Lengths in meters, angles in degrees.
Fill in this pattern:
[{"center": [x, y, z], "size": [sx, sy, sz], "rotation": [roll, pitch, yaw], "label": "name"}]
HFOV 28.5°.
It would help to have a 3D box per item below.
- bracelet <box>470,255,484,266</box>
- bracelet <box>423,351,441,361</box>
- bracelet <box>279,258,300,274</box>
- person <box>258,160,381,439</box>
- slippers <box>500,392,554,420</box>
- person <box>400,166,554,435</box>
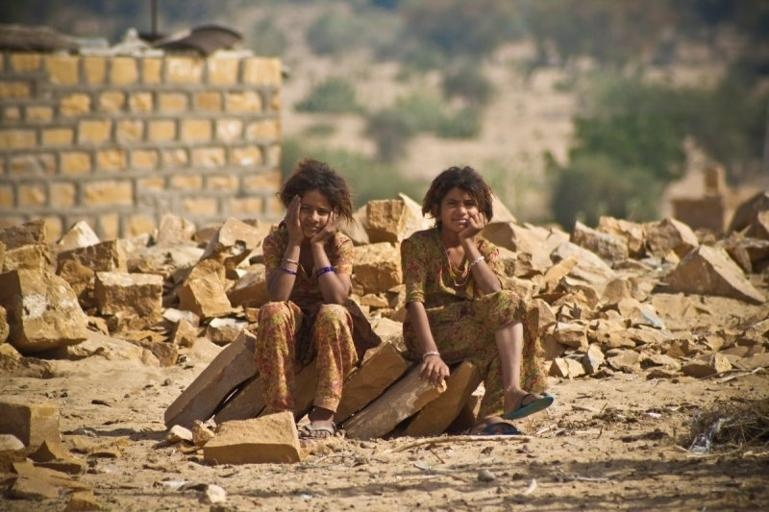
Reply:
[{"center": [0.991, 0.065, 16.103], "size": [0.029, 0.100, 0.104], "rotation": [52, -22, -9], "label": "bracelet"}, {"center": [0.493, 1.054, 15.931], "size": [0.106, 0.028, 0.107], "rotation": [-1, -29, -12], "label": "bracelet"}, {"center": [-1.004, 0.127, 16.050], "size": [0.157, 0.042, 0.157], "rotation": [20, -27, -3], "label": "bracelet"}, {"center": [-0.733, 0.448, 16.057], "size": [1.191, 2.344, 0.585], "rotation": [6, -3, -5], "label": "person"}, {"center": [1.505, 1.556, 15.760], "size": [0.593, 0.155, 0.219], "rotation": [-30, -27, 25], "label": "slippers"}, {"center": [0.959, 0.428, 16.084], "size": [1.597, 2.073, 0.770], "rotation": [6, -3, 1], "label": "person"}]
